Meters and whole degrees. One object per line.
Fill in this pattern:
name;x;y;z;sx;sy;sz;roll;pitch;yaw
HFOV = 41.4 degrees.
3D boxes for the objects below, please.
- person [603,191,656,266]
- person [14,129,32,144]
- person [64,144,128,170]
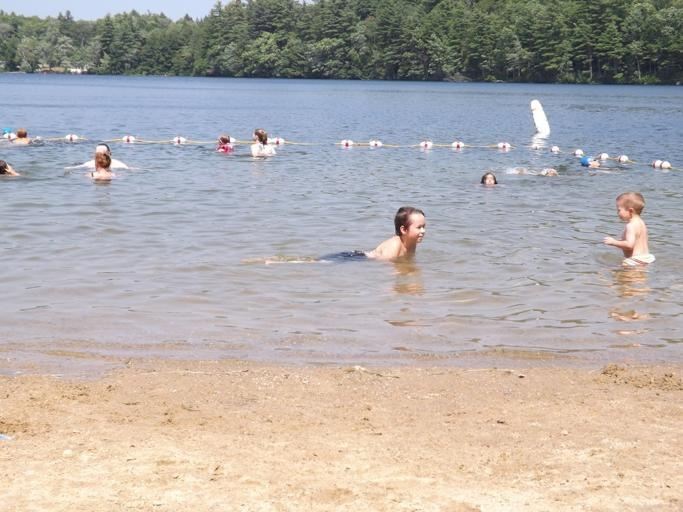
person;5.005;-0.473;15.578;0.811;1.216;0.742;1;9;13
person;-11.429;-4.262;32.327;0.571;0.531;1.299;-3;7;-17
person;-7.546;-3.002;27.669;3.131;0.617;0.707;1;16;-3
